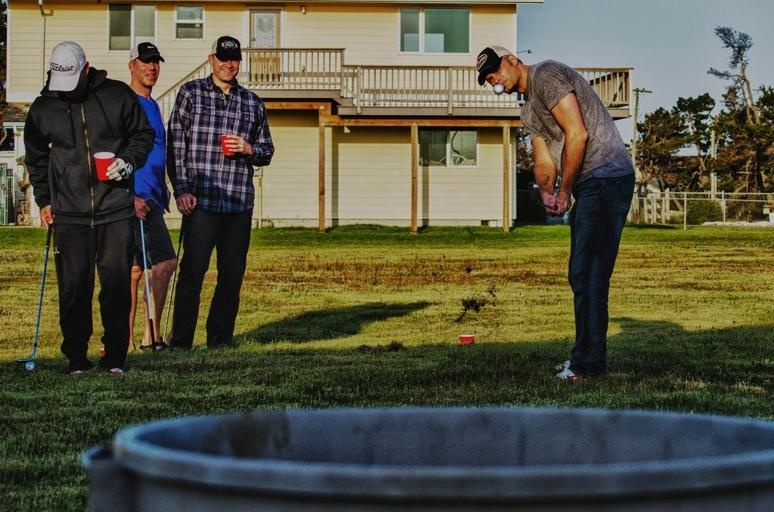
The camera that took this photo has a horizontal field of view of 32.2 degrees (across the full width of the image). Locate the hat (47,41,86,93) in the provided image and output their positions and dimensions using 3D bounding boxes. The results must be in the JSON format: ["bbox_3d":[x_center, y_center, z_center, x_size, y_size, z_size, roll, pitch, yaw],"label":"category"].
[{"bbox_3d":[-3.752,-2.226,15.756,0.418,0.747,0.302,4,-10,-3],"label":"hat"}]

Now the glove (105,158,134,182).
[{"bbox_3d":[-3.126,-0.991,15.734,0.267,0.216,0.130,5,36,-25],"label":"glove"}]

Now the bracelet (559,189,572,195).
[{"bbox_3d":[2.121,-0.732,15.636,0.175,0.081,0.071,-2,4,-27],"label":"bracelet"}]

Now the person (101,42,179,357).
[{"bbox_3d":[-3.061,-0.847,17.316,0.957,3.809,1.046,2,-2,-20],"label":"person"}]

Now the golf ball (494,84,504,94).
[{"bbox_3d":[1.346,-1.962,15.799,0.113,0.104,0.099,0,-5,5],"label":"golf ball"}]

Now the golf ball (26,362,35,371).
[{"bbox_3d":[-4.315,1.364,16.269,0.090,0.099,0.038,4,-1,-9],"label":"golf ball"}]
